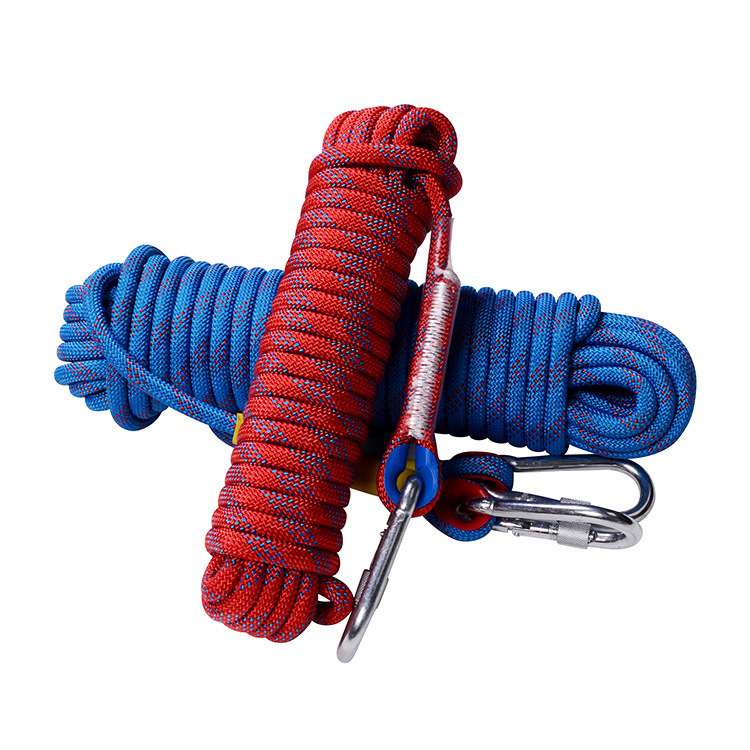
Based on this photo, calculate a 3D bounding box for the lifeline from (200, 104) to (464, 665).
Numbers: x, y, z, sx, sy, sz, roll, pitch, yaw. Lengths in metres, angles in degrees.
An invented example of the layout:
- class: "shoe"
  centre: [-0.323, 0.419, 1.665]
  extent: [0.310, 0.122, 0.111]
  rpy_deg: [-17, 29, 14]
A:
- class: "lifeline"
  centre: [-0.020, -0.001, 1.876]
  extent: [0.319, 0.313, 1.074]
  rpy_deg: [17, -92, 8]

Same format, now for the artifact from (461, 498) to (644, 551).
- class: "artifact"
  centre: [0.363, 0.310, 1.857]
  extent: [0.346, 0.116, 0.149]
  rpy_deg: [-2, -51, 10]

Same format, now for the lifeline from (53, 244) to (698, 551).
- class: "lifeline"
  centre: [-0.209, -0.012, 2.265]
  extent: [2.112, 0.517, 0.507]
  rpy_deg: [6, -81, 11]
